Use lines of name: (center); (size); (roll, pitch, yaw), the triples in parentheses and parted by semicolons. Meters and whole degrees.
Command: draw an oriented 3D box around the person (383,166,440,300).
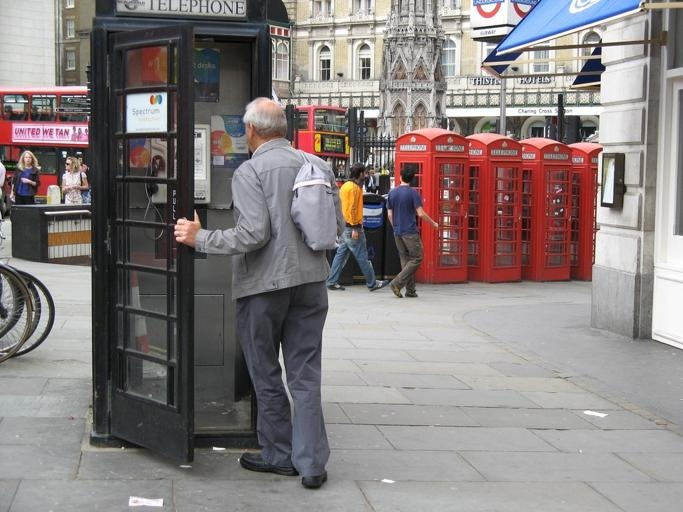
person: (1.089, -0.364, 14.001); (0.730, 2.027, 0.677); (6, 10, 16)

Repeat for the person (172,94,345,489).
person: (-0.521, 0.231, 6.197); (0.918, 2.659, 0.494); (2, 6, -1)

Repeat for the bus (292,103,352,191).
bus: (-0.796, -4.139, 35.004); (2.217, 3.483, 2.348); (1, 6, 10)

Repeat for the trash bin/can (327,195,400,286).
trash bin/can: (0.602, -0.290, 15.413); (0.597, 2.353, 0.568); (0, 2, -24)

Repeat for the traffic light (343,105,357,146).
traffic light: (0.290, -4.032, 27.771); (0.377, 1.182, 0.264); (2, 6, 27)

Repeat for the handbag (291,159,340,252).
handbag: (-0.185, -0.393, 6.187); (0.280, 0.757, 0.262); (-2, -6, -36)
